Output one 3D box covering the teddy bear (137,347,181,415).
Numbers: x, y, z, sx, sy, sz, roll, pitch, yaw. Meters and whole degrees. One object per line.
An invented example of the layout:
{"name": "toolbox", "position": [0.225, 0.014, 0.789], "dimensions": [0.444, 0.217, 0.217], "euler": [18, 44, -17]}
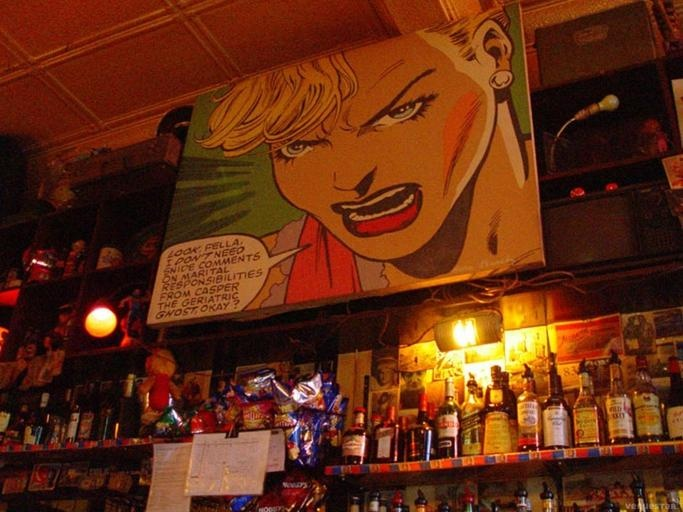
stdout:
{"name": "teddy bear", "position": [-1.009, 0.692, 3.126], "dimensions": [0.192, 0.405, 0.264], "euler": [23, -38, -36]}
